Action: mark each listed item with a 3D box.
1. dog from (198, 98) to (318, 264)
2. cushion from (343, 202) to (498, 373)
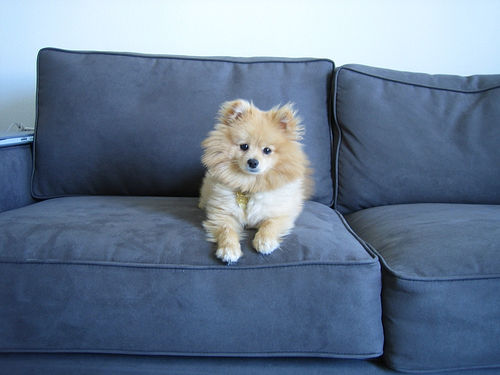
[{"bbox_3d":[0.042,-0.043,2.558,0.591,0.801,0.549,0,0,-6],"label":"dog"},{"bbox_3d":[0.864,0.514,2.410,0.696,0.357,0.734,-4,14,3],"label":"cushion"}]
